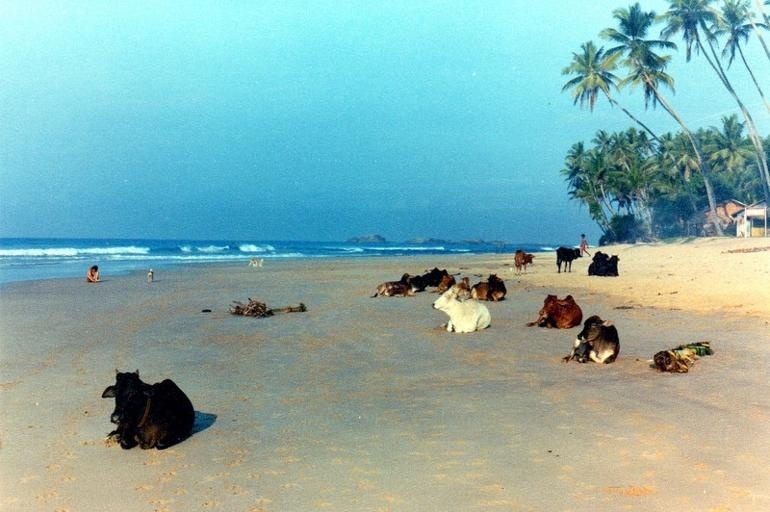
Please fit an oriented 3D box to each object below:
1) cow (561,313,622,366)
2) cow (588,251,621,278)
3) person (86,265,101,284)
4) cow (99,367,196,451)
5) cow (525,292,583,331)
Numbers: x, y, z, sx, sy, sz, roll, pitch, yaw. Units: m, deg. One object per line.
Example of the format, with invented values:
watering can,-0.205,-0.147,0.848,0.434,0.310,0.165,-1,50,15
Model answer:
cow,4.320,1.788,12.952,1.319,0.795,0.744,1,0,-43
cow,10.373,0.435,29.333,0.762,0.984,1.932,-1,-2,-4
person,-14.291,0.900,30.307,0.676,0.921,0.926,4,-8,-27
cow,-3.768,2.529,9.900,0.942,0.837,1.551,-4,-16,14
cow,4.484,1.450,15.989,1.279,0.598,0.804,2,-4,-38
